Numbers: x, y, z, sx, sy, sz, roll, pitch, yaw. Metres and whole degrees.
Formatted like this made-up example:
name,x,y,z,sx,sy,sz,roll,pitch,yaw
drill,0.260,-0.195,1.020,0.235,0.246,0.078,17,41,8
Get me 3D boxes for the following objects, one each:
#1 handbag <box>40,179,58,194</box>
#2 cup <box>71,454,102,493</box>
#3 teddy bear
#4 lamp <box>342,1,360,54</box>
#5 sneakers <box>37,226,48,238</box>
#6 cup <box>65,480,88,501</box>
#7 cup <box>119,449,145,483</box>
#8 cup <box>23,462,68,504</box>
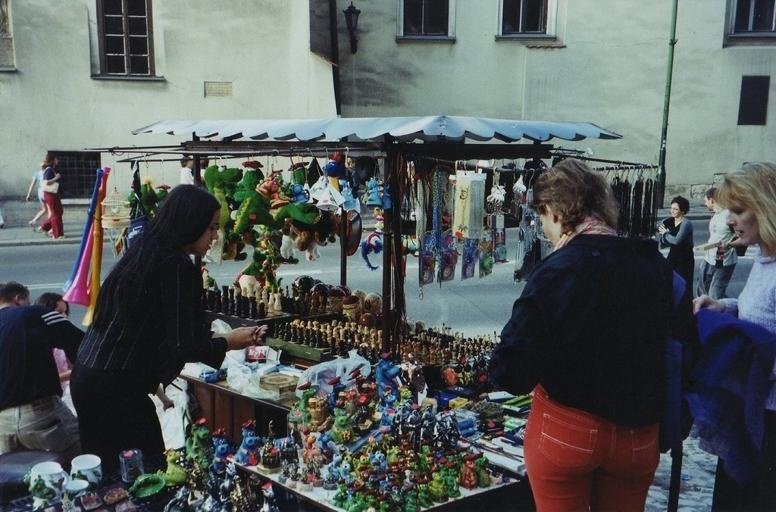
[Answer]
name,x,y,z,sx,sy,sz,roll,pitch,yaw
handbag,-6.881,-1.389,19.137,0.419,0.333,0.215,1,1,1
cup,-2.750,1.978,8.605,0.291,0.229,0.228,19,7,-5
teddy bear,-1.888,-0.388,11.308,1.945,1.235,1.368,6,17,-6
lamp,-0.851,-5.454,22.292,0.415,1.218,0.649,-1,4,-2
sneakers,-7.267,-0.499,19.817,0.128,0.171,0.371,-18,26,-40
cup,-2.825,2.138,8.517,0.168,0.136,0.161,0,7,0
cup,-2.363,1.930,8.808,0.248,0.292,0.261,1,11,0
cup,-3.079,2.068,8.524,0.350,0.354,0.164,0,4,6
